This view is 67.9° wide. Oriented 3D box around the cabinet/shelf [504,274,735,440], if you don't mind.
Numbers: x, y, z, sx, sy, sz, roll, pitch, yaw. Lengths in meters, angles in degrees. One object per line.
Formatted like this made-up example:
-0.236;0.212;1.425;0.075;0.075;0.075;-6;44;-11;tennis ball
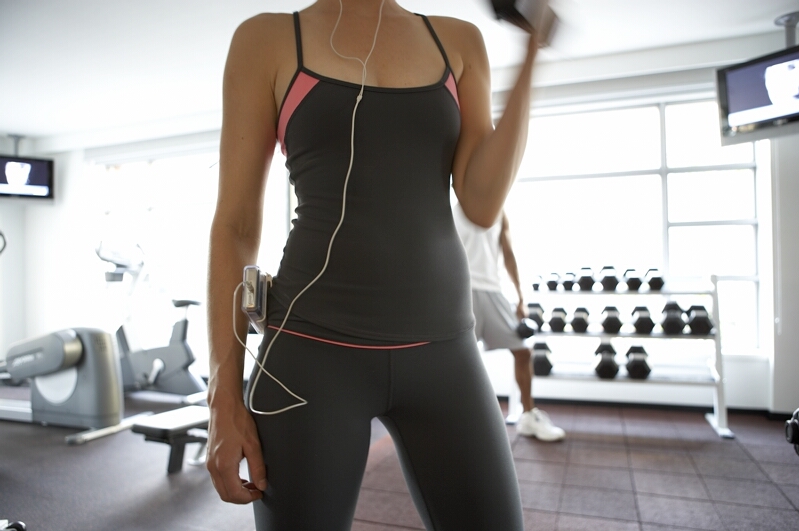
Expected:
2.176;0.589;5.593;2.337;1.433;0.940;7;4;31;cabinet/shelf

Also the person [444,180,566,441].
0.915;0.464;5.117;0.915;2.347;0.682;4;7;6;person

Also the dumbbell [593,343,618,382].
1.941;0.901;5.560;0.215;0.315;0.191;2;8;20;dumbbell

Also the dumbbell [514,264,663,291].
1.914;0.143;5.720;1.260;0.244;0.422;4;5;-6;dumbbell

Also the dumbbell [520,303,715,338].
2.139;0.322;5.569;1.315;0.230;0.412;-1;22;11;dumbbell

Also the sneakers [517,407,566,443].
1.273;1.425;5.338;0.407;0.213;0.226;2;2;25;sneakers

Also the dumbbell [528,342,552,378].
1.328;0.883;5.644;0.243;0.510;0.284;-1;-3;11;dumbbell
